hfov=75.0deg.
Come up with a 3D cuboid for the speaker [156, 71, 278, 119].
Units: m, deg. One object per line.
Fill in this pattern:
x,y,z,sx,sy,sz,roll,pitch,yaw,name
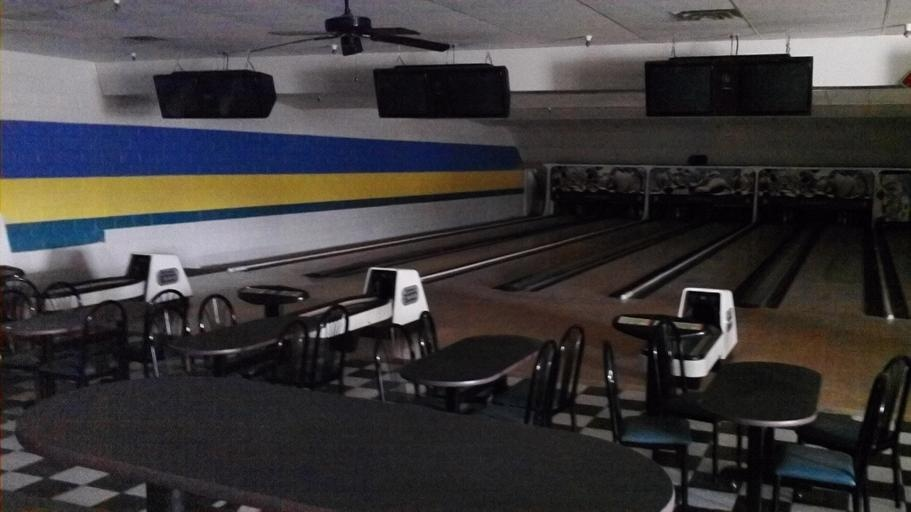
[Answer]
-2.437,-1.604,6.103,1.040,0.294,0.593,1,8,3,speaker
